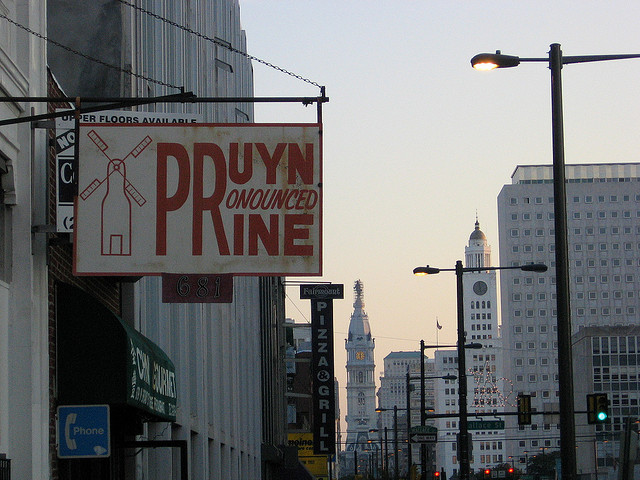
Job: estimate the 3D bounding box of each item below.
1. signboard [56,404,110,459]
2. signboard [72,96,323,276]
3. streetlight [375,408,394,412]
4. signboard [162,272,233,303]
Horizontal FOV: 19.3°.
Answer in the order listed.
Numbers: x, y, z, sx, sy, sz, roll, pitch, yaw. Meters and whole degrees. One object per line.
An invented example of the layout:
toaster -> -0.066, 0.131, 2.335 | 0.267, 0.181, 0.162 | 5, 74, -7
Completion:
signboard -> -8.234, 6.634, 65.814 | 1.801, 1.766, 0.638 | 0, -14, -6
signboard -> -4.329, -1.548, 67.256 | 8.620, 5.555, 1.116 | -1, -13, -3
streetlight -> 3.889, 9.752, 109.333 | 0.593, 0.190, 1.659 | -5, -7, 43
signboard -> -4.332, 1.609, 67.055 | 2.458, 1.057, 0.313 | -1, -14, -3
